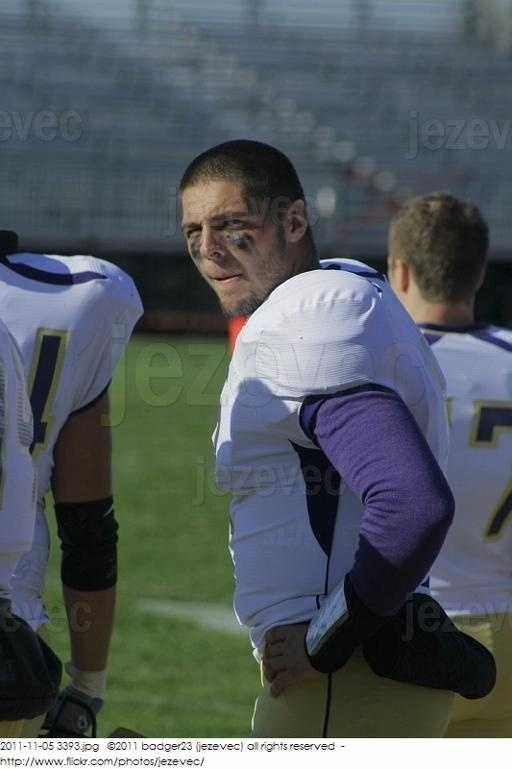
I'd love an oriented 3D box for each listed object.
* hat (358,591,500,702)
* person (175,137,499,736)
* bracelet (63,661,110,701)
[{"bbox_3d":[0.297,0.436,1.965,0.235,0.169,0.068,-1,7,-24],"label":"hat"},{"bbox_3d":[0.131,0.076,2.067,0.375,1.021,0.600,-2,7,-33],"label":"person"},{"bbox_3d":[-0.351,0.619,2.454,0.085,0.071,0.066,0,-12,6],"label":"bracelet"}]
